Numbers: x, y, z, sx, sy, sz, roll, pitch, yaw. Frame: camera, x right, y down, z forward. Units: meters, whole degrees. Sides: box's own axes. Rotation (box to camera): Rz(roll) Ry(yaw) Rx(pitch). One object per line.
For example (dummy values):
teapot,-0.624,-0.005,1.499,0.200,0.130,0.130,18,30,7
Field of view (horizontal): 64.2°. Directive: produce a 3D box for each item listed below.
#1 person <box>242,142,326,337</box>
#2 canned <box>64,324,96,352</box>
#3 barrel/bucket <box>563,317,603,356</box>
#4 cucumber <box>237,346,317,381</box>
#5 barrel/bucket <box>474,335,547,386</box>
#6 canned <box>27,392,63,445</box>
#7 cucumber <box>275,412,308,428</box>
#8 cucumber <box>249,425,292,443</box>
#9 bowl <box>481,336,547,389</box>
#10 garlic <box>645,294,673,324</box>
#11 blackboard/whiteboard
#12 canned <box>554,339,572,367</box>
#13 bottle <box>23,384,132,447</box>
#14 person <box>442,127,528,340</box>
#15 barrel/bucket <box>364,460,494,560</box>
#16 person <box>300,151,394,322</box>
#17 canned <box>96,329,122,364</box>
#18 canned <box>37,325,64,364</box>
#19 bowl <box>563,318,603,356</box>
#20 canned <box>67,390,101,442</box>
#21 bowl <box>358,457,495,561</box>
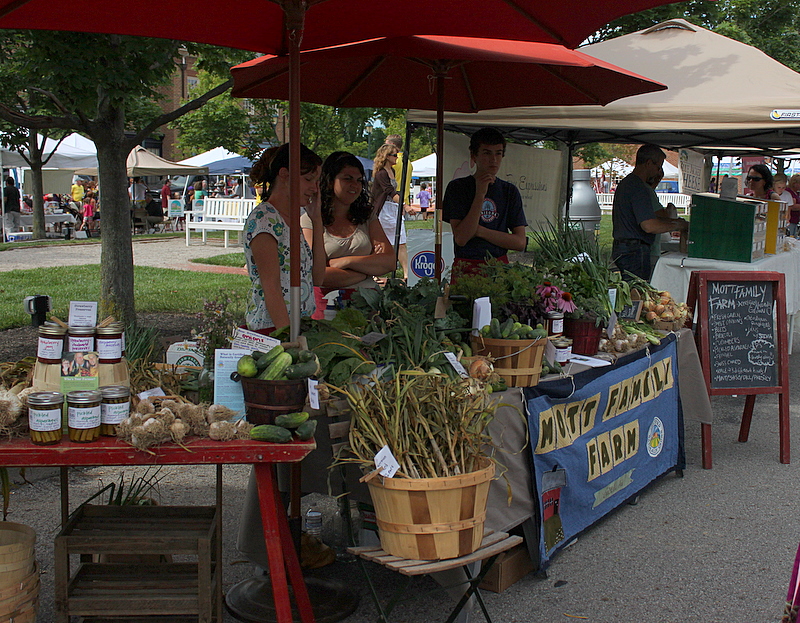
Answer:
person,-0.603,-0.385,3.417,0.444,1.128,0.516,13,14,21
canned,-1.154,0.091,2.307,0.092,0.098,0.094,6,4,37
barrel/bucket,1.160,0.159,4.082,0.229,0.189,0.248,1,-2,0
cucumber,-0.470,0.194,2.392,0.305,0.144,0.201,-2,10,-15
barrel/bucket,0.590,0.253,3.465,0.344,0.248,0.373,6,10,-1
canned,-1.234,0.359,2.209,0.134,0.173,0.115,-1,10,-13
cucumber,-0.393,0.393,2.321,0.105,0.050,0.042,-14,-31,-6
cucumber,-0.459,0.437,2.279,0.136,0.062,0.053,9,-9,5
bowl,0.600,0.249,3.330,0.274,0.183,0.278,-1,0,0
garlic,2.015,-0.031,4.965,0.213,0.090,0.218,4,10,24
blackboard/whiteboard,2.870,0.168,5.257,0.833,0.969,0.286,-2,10,-14
canned,0.933,0.246,3.691,0.145,0.155,0.136,2,-1,-6
bottle,-1.089,0.325,2.260,0.276,0.213,0.348,1,9,-14
person,0.664,-0.578,4.937,0.494,1.565,0.447,-1,2,-33
barrel/bucket,0.131,0.819,2.602,0.510,0.373,0.185,0,10,-4
person,-0.403,-0.494,4.478,0.554,1.194,0.543,-3,14,-30
canned,-1.062,0.125,2.335,0.110,0.125,0.110,0,3,-17
canned,-1.267,0.120,2.363,0.122,0.131,0.121,3,-1,-28
bowl,1.161,0.161,4.051,0.221,0.183,0.241,0,-2,0
canned,-1.085,0.361,2.197,0.103,0.170,0.057,-3,10,-21
bowl,0.136,0.829,2.754,0.542,0.341,0.556,-4,-2,0
